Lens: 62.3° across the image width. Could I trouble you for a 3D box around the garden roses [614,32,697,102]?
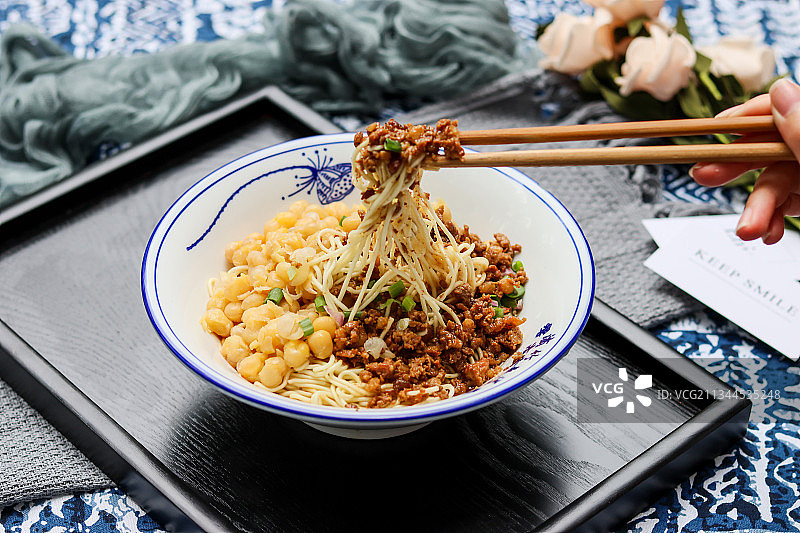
[{"bbox_3d":[1.528,-1.187,4.070,0.367,0.214,0.443,43,96,6],"label":"garden roses"}]
